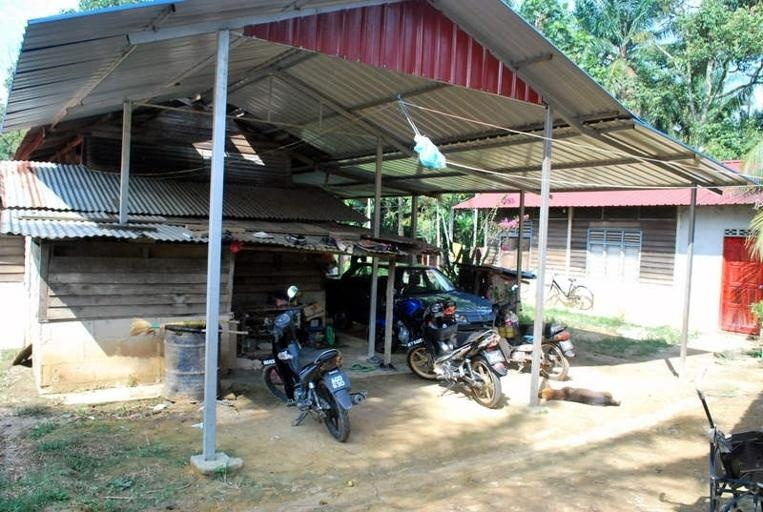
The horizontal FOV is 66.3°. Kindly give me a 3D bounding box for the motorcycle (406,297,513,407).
[{"bbox_3d":[1.326,1.671,10.233,0.868,1.589,1.936,-4,13,-30],"label":"motorcycle"}]

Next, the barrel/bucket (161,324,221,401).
[{"bbox_3d":[-3.327,1.702,9.911,1.138,1.287,1.106,2,2,0],"label":"barrel/bucket"}]

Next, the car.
[{"bbox_3d":[0.476,1.107,12.983,3.852,1.822,3.999,-1,3,-37],"label":"car"}]

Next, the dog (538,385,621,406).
[{"bbox_3d":[3.421,2.462,10.254,0.828,0.148,0.399,3,11,16],"label":"dog"}]
